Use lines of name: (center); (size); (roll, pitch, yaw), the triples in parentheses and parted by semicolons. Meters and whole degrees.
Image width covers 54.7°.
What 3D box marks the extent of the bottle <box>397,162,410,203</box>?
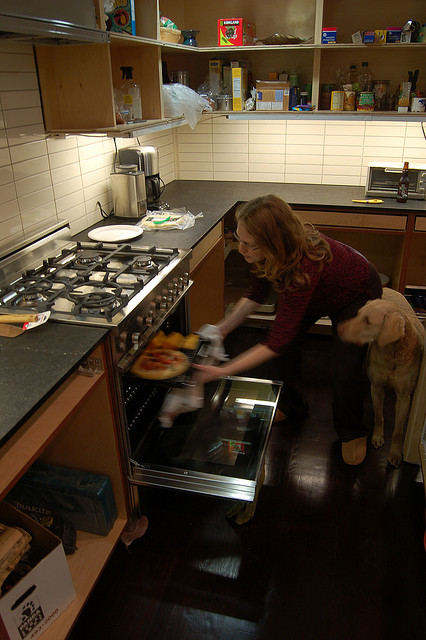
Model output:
bottle: (1.248, -0.887, 2.688); (0.072, 0.247, 0.050); (5, 11, 10)

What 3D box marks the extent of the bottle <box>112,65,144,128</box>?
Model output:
bottle: (-0.426, -1.148, 2.130); (0.125, 0.254, 0.129); (2, 32, -1)

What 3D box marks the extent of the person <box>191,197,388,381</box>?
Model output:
person: (0.285, -0.166, 1.479); (0.763, 0.483, 0.340); (-9, 31, -5)

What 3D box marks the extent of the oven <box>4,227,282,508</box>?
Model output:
oven: (-0.303, 0.142, 1.778); (1.142, 1.193, 0.846); (5, 28, 11)
